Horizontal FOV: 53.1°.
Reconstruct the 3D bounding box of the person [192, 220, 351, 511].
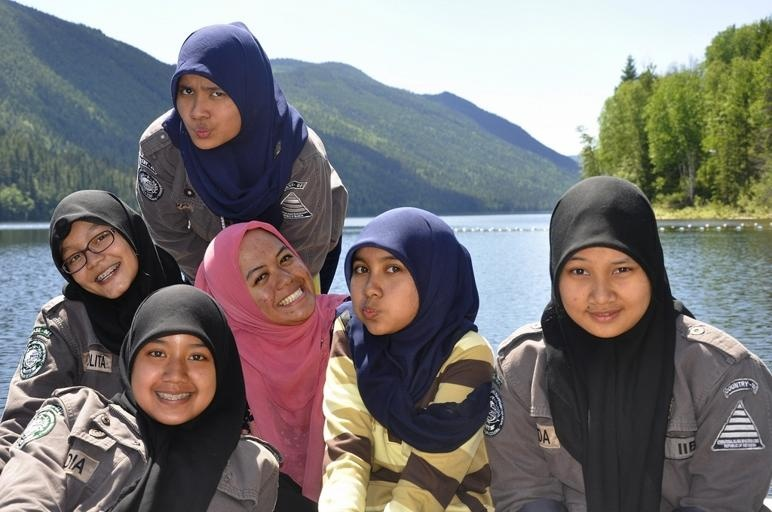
[{"bbox_3d":[-0.728,0.636,5.299,1.230,1.567,0.678,0,-5,5],"label":"person"}]
